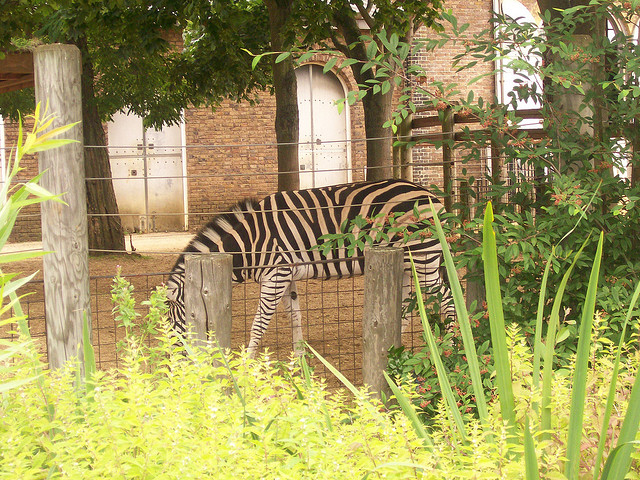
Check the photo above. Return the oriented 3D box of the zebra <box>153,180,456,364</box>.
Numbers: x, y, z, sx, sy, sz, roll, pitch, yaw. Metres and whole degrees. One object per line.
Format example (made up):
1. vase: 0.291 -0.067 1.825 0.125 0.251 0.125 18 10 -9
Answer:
1. zebra: -0.038 0.216 7.571 1.992 1.227 3.181 -1 4 -6
